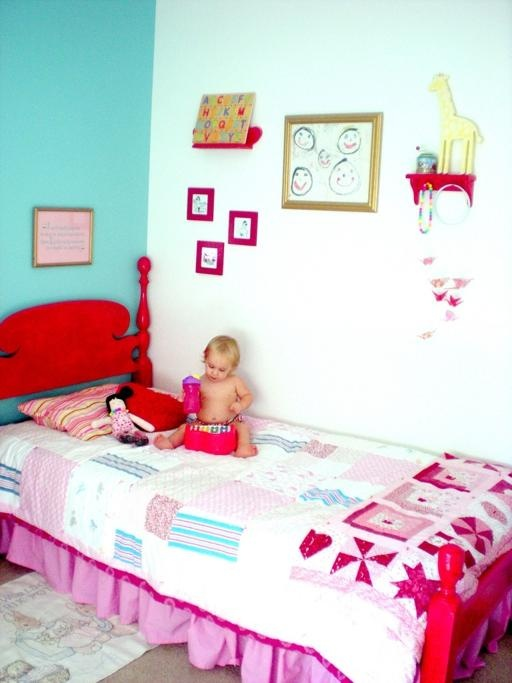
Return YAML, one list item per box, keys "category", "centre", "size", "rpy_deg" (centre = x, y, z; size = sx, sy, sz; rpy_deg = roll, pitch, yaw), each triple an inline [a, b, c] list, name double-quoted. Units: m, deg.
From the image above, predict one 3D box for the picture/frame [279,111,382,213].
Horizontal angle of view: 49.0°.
- category: "picture/frame"
  centre: [0.346, -0.799, 2.472]
  size: [0.482, 0.395, 0.034]
  rpy_deg: [11, 18, 35]

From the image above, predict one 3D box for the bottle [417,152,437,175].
- category: "bottle"
  centre: [0.676, -0.705, 2.214]
  size: [0.082, 0.093, 0.065]
  rpy_deg: [3, 8, 10]

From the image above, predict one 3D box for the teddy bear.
- category: "teddy bear"
  centre: [-0.594, 0.335, 2.427]
  size: [0.204, 0.282, 0.164]
  rpy_deg: [-18, -15, 5]
